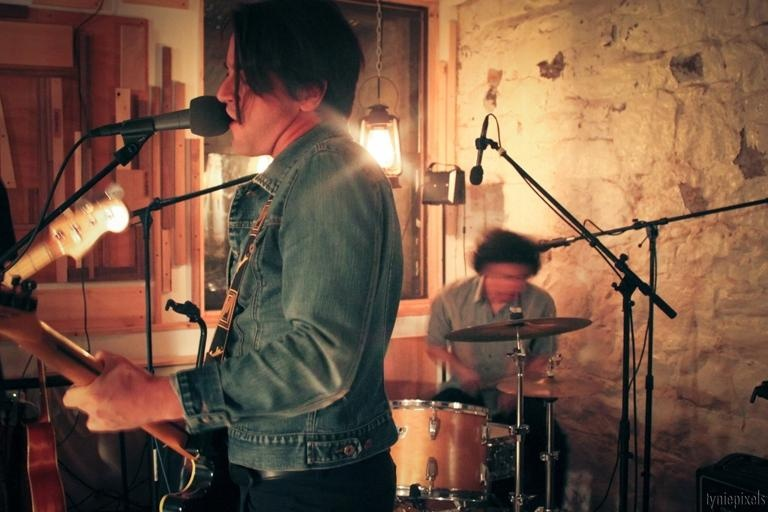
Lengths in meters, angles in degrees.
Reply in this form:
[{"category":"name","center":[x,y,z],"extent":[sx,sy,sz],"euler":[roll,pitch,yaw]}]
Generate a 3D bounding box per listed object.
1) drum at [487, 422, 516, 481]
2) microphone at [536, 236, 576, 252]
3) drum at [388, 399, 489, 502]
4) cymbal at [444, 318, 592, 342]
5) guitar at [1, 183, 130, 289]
[{"category":"drum","center":[0.723,1.183,5.206],"extent":[0.160,0.313,0.282],"euler":[-1,-3,8]},{"category":"microphone","center":[1.098,-0.074,5.372],"extent":[0.242,0.033,0.092],"euler":[-6,-43,16]},{"category":"drum","center":[0.403,1.146,5.315],"extent":[0.705,0.498,0.711],"euler":[1,-12,0]},{"category":"cymbal","center":[0.817,0.440,5.095],"extent":[0.363,0.082,0.367],"euler":[-12,-11,32]},{"category":"guitar","center":[-1.482,-0.106,4.085],"extent":[0.599,0.306,0.151],"euler":[-32,40,-22]}]
